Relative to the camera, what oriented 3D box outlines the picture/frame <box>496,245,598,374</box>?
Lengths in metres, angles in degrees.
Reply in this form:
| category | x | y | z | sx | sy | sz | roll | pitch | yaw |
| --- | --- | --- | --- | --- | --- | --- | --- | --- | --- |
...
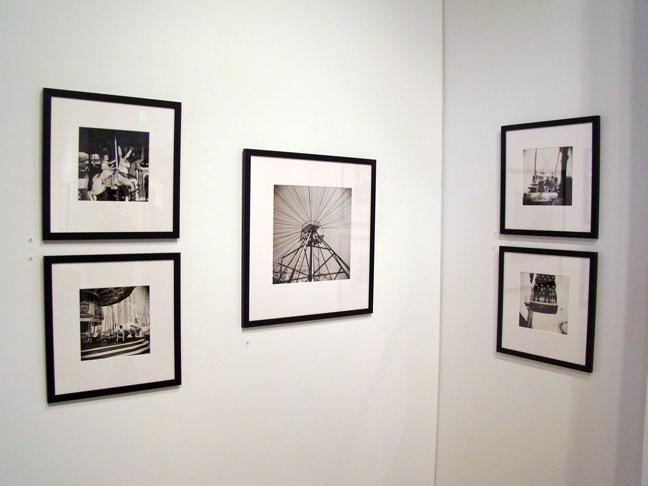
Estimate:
| category | x | y | z | sx | sy | sz | roll | pitch | yaw |
| --- | --- | --- | --- | --- | --- | --- | --- | --- | --- |
| picture/frame | 0.822 | 0.234 | 2.093 | 0.325 | 0.015 | 0.503 | 4 | 51 | 22 |

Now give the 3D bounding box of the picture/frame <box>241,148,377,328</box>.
| category | x | y | z | sx | sy | sz | roll | pitch | yaw |
| --- | --- | --- | --- | --- | --- | --- | --- | --- | --- |
| picture/frame | -0.044 | -0.019 | 2.073 | 0.462 | 0.628 | 0.027 | 1 | 20 | -2 |

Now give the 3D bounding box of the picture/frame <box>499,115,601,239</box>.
| category | x | y | z | sx | sy | sz | roll | pitch | yaw |
| --- | --- | --- | --- | --- | --- | --- | --- | --- | --- |
| picture/frame | 0.834 | -0.238 | 2.077 | 0.328 | 0.506 | 0.014 | 0 | -27 | 25 |
